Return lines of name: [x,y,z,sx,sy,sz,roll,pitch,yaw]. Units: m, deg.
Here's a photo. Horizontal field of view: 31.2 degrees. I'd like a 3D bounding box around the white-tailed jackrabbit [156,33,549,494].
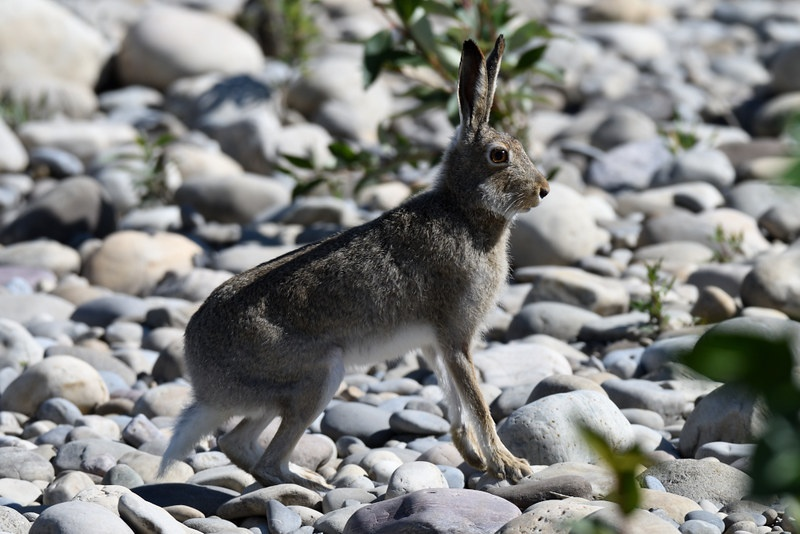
white-tailed jackrabbit: [-0.591,0.016,12.506,3.749,3.813,1.334,-4,9,-27]
